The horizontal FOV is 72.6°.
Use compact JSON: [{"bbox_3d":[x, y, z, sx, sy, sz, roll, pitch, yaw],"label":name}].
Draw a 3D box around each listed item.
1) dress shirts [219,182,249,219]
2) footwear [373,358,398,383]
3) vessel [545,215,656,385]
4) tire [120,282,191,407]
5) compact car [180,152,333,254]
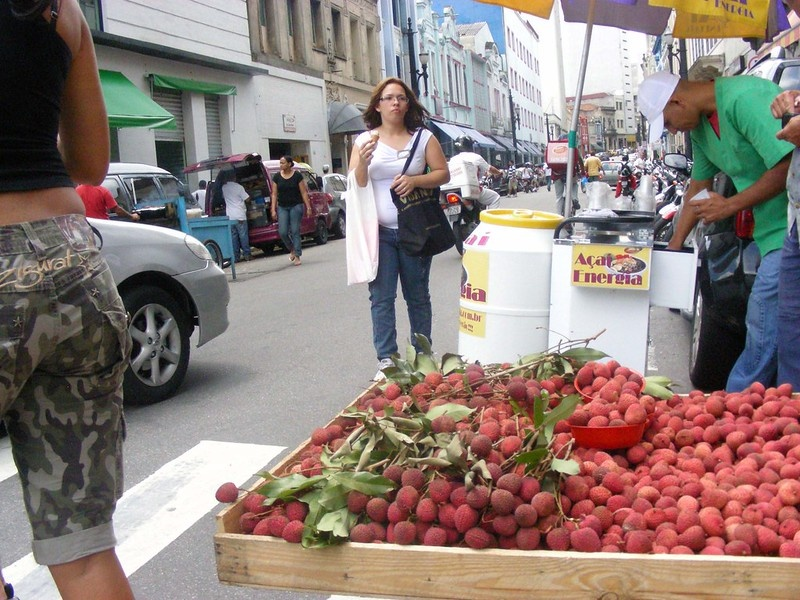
[{"bbox_3d":[-4.673,-2.819,15.308,0.793,1.035,0.611,-1,10,7],"label":"dress shirts"},{"bbox_3d":[-0.106,0.541,4.246,0.162,0.224,0.474,0,-3,5],"label":"footwear"},{"bbox_3d":[1.408,-0.063,3.772,0.670,1.098,0.702,-3,16,-6],"label":"vessel"},{"bbox_3d":[-2.102,0.385,4.654,0.278,0.933,0.897,0,-16,17],"label":"tire"},{"bbox_3d":[-4.225,-3.356,17.876,2.197,3.128,5.989,-7,3,15],"label":"compact car"}]
